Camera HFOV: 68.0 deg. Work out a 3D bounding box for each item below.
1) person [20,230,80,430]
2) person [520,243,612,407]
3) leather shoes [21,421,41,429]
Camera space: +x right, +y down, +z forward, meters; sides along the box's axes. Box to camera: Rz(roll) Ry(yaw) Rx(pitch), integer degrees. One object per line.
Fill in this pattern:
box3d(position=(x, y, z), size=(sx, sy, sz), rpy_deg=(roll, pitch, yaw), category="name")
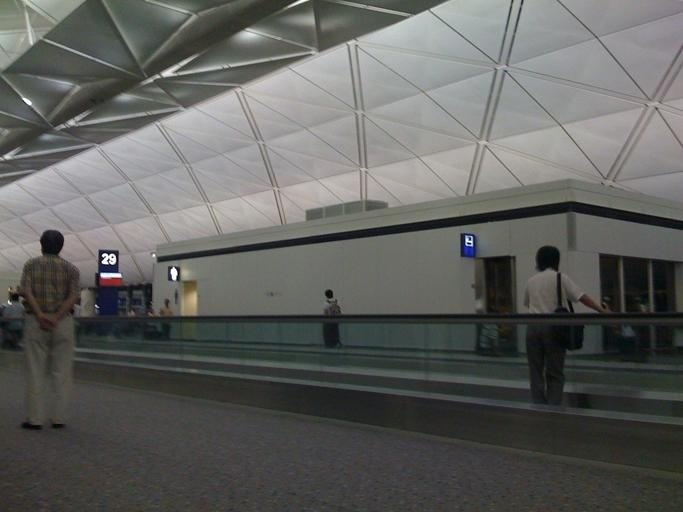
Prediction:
box3d(position=(-4.621, 1.137, 8.016), size=(0.841, 3.070, 1.160), rpy_deg=(-2, 4, -29), category="person")
box3d(position=(3.312, 0.972, 7.783), size=(0.940, 2.195, 1.578), rpy_deg=(1, 3, 20), category="person")
box3d(position=(-4.669, 2.527, 7.610), size=(0.341, 0.090, 0.112), rpy_deg=(1, 3, 12), category="leather shoes")
